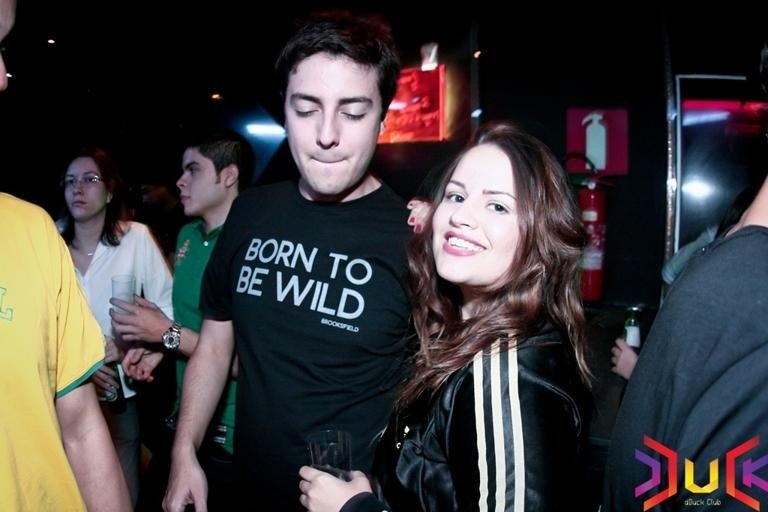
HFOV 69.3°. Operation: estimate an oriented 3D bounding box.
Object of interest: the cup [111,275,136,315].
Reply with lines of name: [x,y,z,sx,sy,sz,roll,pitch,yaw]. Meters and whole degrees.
cup: [-1.417,0.188,3.053,0.113,0.155,0.187,-3,10,-22]
